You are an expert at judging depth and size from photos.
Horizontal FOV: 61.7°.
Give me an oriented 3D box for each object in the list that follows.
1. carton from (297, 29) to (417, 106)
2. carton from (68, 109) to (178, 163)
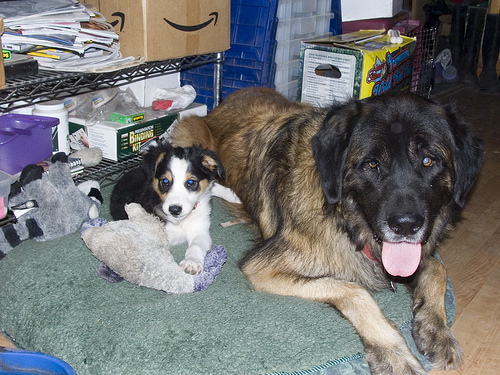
[{"bbox_3d":[1.141,-1.202,4.248,1.035,0.665,0.541,-28,40,-37],"label":"carton"},{"bbox_3d":[-1.291,-0.566,3.843,0.488,0.261,0.908,20,31,38],"label":"carton"}]
